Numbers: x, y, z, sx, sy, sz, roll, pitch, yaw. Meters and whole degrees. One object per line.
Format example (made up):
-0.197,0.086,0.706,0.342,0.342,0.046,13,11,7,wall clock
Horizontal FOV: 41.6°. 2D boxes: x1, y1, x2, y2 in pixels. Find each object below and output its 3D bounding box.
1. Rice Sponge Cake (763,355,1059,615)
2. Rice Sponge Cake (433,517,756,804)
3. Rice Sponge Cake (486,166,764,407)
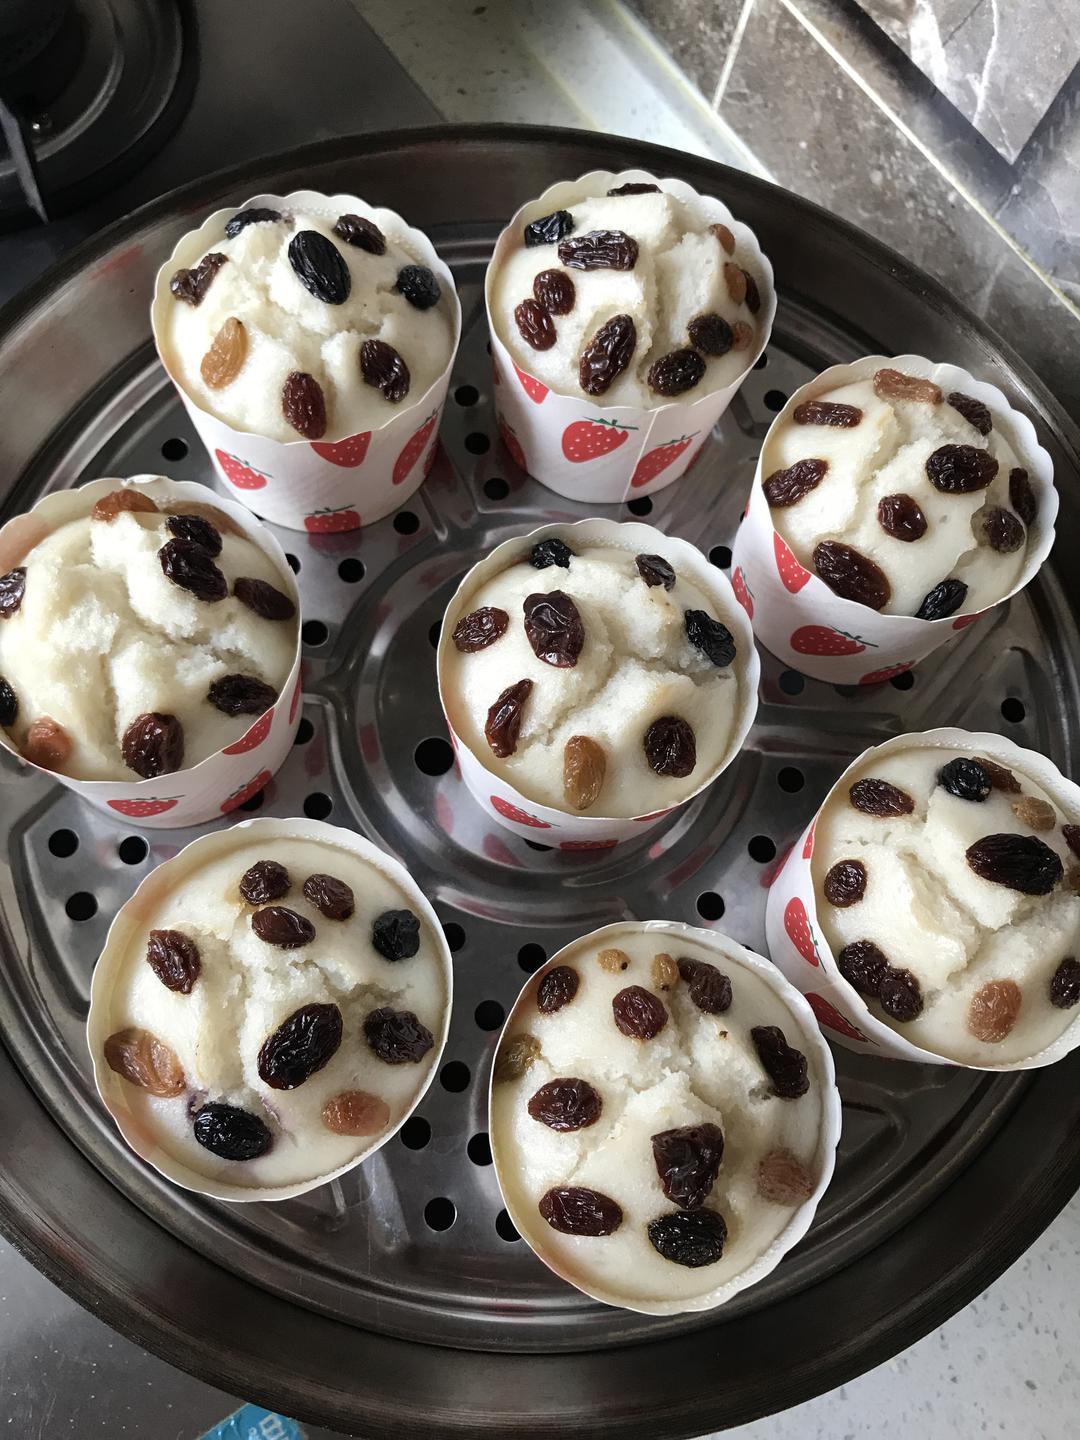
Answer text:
0.435,-0.272,1.680,0.312,0.209,0.325,7,40,-4,Rice Sponge Cake
0.069,-0.062,1.674,0.456,0.270,0.426,-1,36,-3,Rice Sponge Cake
0.085,-0.535,1.705,0.365,0.107,0.309,-20,73,-9,Rice Sponge Cake
